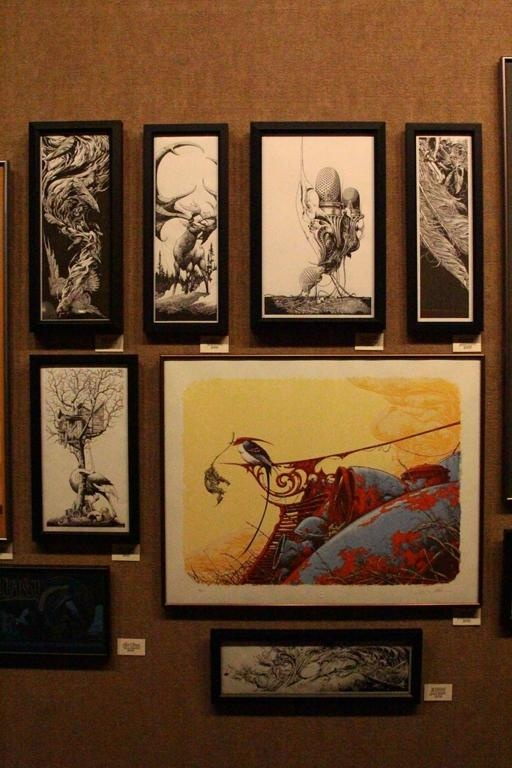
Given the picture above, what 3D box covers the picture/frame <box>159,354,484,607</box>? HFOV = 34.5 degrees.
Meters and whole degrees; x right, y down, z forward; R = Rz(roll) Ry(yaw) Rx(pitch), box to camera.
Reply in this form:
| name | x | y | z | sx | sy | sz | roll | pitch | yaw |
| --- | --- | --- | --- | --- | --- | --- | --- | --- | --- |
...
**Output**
| name | x | y | z | sx | sy | sz | roll | pitch | yaw |
| --- | --- | --- | --- | --- | --- | --- | --- | --- | --- |
| picture/frame | 0.150 | 0.255 | 2.089 | 0.614 | 0.465 | 0.022 | 0 | -1 | 2 |
